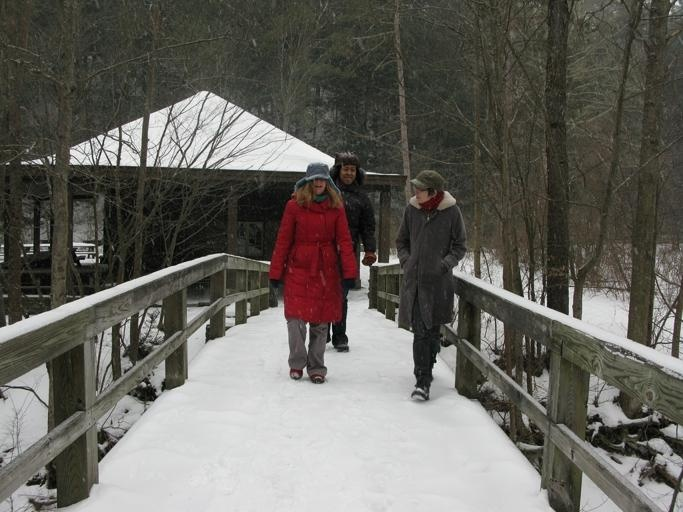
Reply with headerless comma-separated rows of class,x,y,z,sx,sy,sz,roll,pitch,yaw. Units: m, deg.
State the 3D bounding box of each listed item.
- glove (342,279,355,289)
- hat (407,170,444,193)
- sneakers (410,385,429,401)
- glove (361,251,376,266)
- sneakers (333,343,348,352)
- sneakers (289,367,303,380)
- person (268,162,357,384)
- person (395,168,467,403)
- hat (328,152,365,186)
glove,0.094,0.315,7.736,0.096,0.094,0.106,1,-1,-22
hat,0.921,-0.797,7.362,0.312,0.217,0.409,1,6,6
sneakers,0.842,1.433,7.229,0.208,0.161,0.157,-1,6,-8
glove,0.344,0.039,8.569,0.136,0.192,0.132,-1,3,20
sneakers,-0.002,1.186,8.878,0.077,0.098,0.172,2,-11,-16
sneakers,-0.498,1.315,7.684,0.095,0.100,0.113,0,-4,2
person,-0.316,0.190,7.570,0.918,2.387,0.328,0,5,1
person,0.943,0.297,7.326,0.716,2.380,0.537,0,5,3
hat,0.149,-1.064,8.822,0.361,0.459,0.389,-12,-13,37
